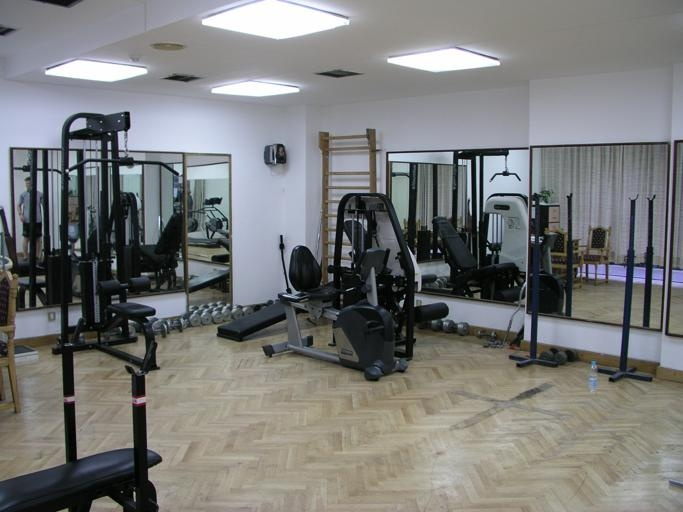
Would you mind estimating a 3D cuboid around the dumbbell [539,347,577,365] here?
[{"bbox_3d":[2.545,1.179,6.434,0.247,0.117,0.244,-1,0,-42],"label":"dumbbell"}]

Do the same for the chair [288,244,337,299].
[{"bbox_3d":[-0.363,0.232,6.809,0.439,0.740,0.456,-5,11,-38],"label":"chair"}]

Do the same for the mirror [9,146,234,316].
[{"bbox_3d":[-3.029,-0.359,7.250,2.567,1.823,0.088,-2,5,-38],"label":"mirror"}]
